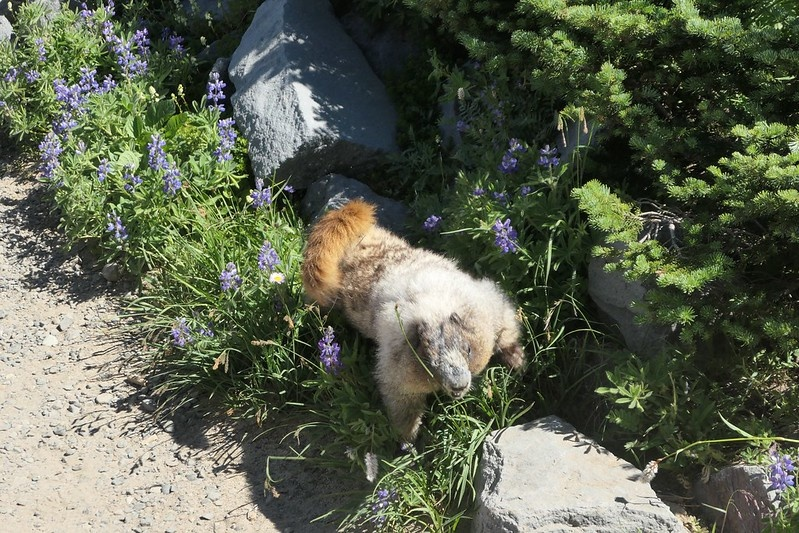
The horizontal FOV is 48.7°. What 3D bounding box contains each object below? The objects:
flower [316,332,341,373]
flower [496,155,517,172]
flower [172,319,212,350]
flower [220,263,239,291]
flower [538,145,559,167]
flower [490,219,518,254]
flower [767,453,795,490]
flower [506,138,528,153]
[{"bbox_3d":[-0.676,0.813,8.455,0.203,0.466,0.220,12,32,25],"label":"flower"},{"bbox_3d":[1.102,-1.041,8.992,0.183,0.193,0.113,16,20,5],"label":"flower"},{"bbox_3d":[-2.086,0.639,8.896,0.374,0.261,0.273,-4,40,-16],"label":"flower"},{"bbox_3d":[-1.698,0.128,8.823,0.141,0.178,0.289,10,52,-56],"label":"flower"},{"bbox_3d":[1.455,-1.097,8.729,0.192,0.246,0.222,-2,16,23],"label":"flower"},{"bbox_3d":[1.011,-0.306,8.417,0.133,0.301,0.286,-6,14,19],"label":"flower"},{"bbox_3d":[3.150,1.707,7.278,0.144,0.359,0.220,4,-14,4],"label":"flower"},{"bbox_3d":[1.159,-1.221,8.993,0.175,0.102,0.202,-8,36,-32],"label":"flower"}]
